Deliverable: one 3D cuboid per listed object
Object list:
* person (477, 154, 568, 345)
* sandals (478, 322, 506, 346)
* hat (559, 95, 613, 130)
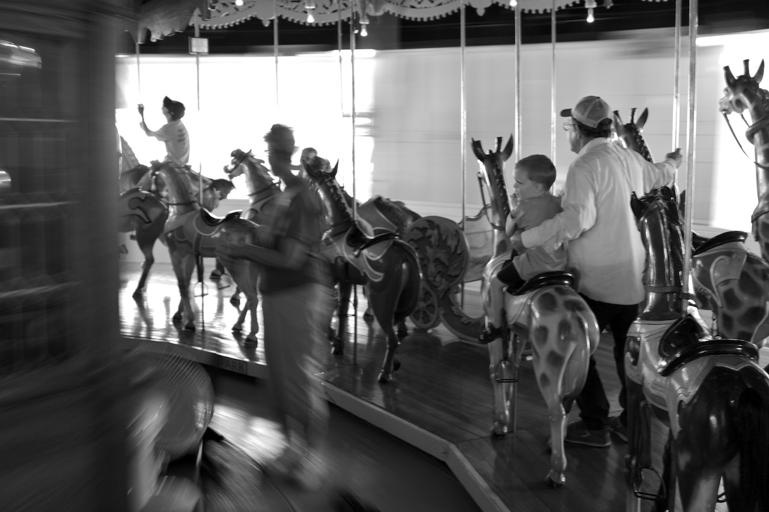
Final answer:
[{"bbox_3d":[0.703,0.000,2.943,0.440,1.033,0.333,3,7,24],"label":"person"},{"bbox_3d":[0.586,0.426,3.162,0.097,0.055,0.135,28,-46,-26],"label":"sandals"},{"bbox_3d":[1.066,-0.765,3.083,0.198,0.164,0.295,-18,34,-32],"label":"hat"}]
